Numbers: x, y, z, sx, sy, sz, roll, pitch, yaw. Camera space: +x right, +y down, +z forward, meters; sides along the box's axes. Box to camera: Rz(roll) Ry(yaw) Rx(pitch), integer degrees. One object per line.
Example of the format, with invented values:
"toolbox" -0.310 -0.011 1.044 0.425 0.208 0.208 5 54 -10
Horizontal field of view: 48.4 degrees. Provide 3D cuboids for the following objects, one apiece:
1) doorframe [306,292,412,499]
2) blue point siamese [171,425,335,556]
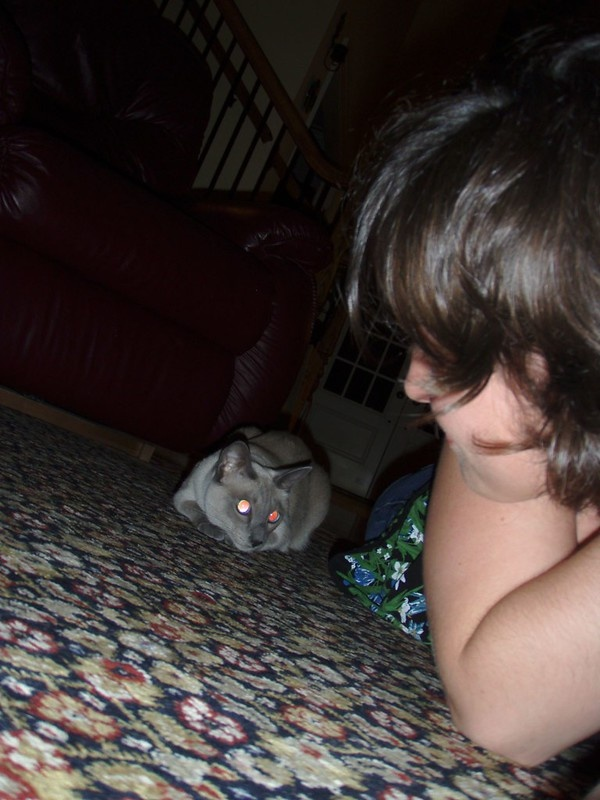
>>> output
"doorframe" 0.551 0.089 6.240 0.807 0.213 2.034 22 38 7
"blue point siamese" -0.160 0.252 2.082 0.402 0.248 0.633 21 7 -7
